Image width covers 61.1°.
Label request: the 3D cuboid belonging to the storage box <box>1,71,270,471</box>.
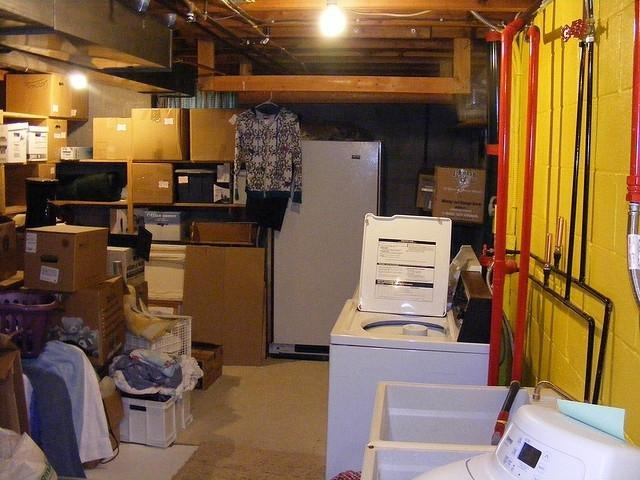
[{"bbox_3d":[-1.736,-0.311,5.793,2.718,2.793,1.233,6,10,25],"label":"storage box"}]

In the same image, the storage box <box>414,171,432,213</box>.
[{"bbox_3d":[1.223,-0.547,6.305,0.174,0.416,0.324,3,9,8],"label":"storage box"}]

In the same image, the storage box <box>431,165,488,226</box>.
[{"bbox_3d":[1.400,-0.524,5.668,0.537,0.578,0.565,4,13,2],"label":"storage box"}]

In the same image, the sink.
[{"bbox_3d":[0.445,0.661,2.050,0.493,0.182,0.366,2,11,5],"label":"sink"}]
